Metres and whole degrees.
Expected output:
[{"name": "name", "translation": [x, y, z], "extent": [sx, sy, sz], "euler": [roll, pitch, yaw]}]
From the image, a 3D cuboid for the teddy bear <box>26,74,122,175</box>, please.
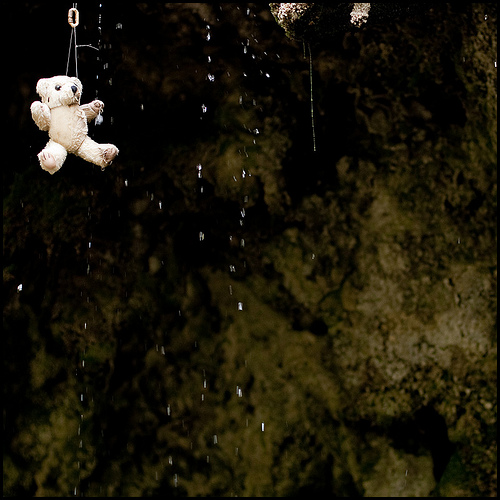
[{"name": "teddy bear", "translation": [-1.062, -0.733, 5.225], "extent": [0.428, 0.372, 0.586], "euler": [-13, 103, -32]}]
